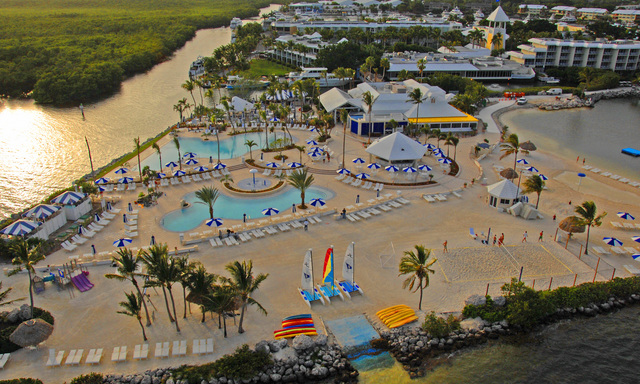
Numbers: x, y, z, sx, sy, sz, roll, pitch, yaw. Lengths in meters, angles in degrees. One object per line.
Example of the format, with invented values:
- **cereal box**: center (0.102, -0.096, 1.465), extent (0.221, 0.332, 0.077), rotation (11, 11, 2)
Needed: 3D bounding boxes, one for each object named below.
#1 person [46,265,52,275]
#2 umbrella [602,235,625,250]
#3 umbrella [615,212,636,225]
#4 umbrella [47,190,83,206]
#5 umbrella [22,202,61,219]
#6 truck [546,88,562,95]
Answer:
- **person**: center (-42.669, 12.283, 75.005), extent (0.751, 0.548, 1.801), rotation (-18, 41, -20)
- **umbrella**: center (48.888, 8.890, 79.636), extent (2.408, 1.622, 2.362), rotation (9, 45, 20)
- **umbrella**: center (54.531, 4.693, 85.049), extent (2.479, 1.641, 2.413), rotation (-27, 40, -26)
- **umbrella**: center (-44.577, 1.178, 84.172), extent (3.320, 1.346, 3.223), rotation (6, 23, 11)
- **umbrella**: center (-47.514, 3.272, 81.487), extent (3.262, 1.403, 3.170), rotation (-10, 30, -25)
- **truck**: center (76.583, -32.692, 155.298), extent (4.539, 1.802, 2.513), rotation (1, 20, 5)
